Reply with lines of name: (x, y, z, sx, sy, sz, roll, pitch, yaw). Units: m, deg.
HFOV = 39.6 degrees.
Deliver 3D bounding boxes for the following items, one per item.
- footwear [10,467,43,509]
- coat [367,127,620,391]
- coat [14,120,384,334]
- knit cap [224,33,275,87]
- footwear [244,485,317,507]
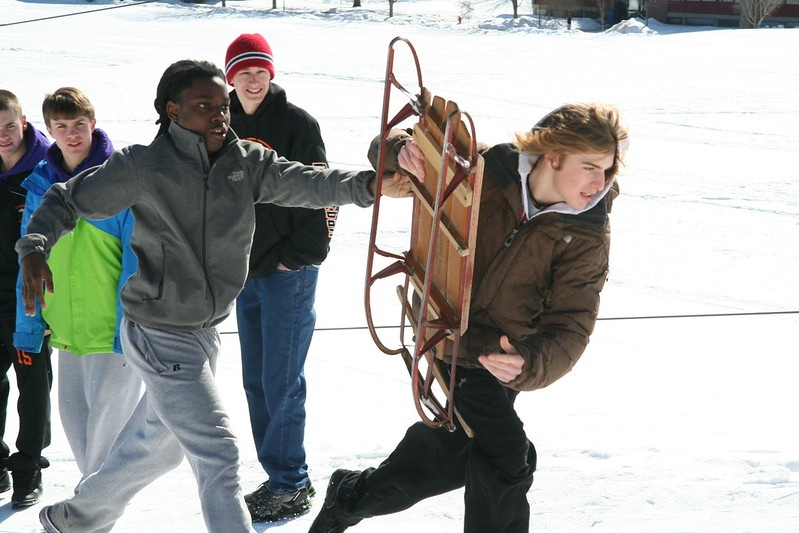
footwear: (-2.879, 1.724, 8.577, 0.163, 0.160, 0.400, 2, 2, -10)
coat: (0.741, -0.162, 8.353, 0.781, 2.140, 2.215, -12, -29, -18)
coat: (-1.552, -0.262, 8.211, 2.667, 1.151, 0.713, 3, 9, -16)
knit cap: (-1.202, -1.740, 8.956, 0.384, 0.325, 0.383, -7, 12, -25)
footwear: (-0.921, 1.744, 8.652, 0.580, 0.159, 0.212, -3, -31, -9)
